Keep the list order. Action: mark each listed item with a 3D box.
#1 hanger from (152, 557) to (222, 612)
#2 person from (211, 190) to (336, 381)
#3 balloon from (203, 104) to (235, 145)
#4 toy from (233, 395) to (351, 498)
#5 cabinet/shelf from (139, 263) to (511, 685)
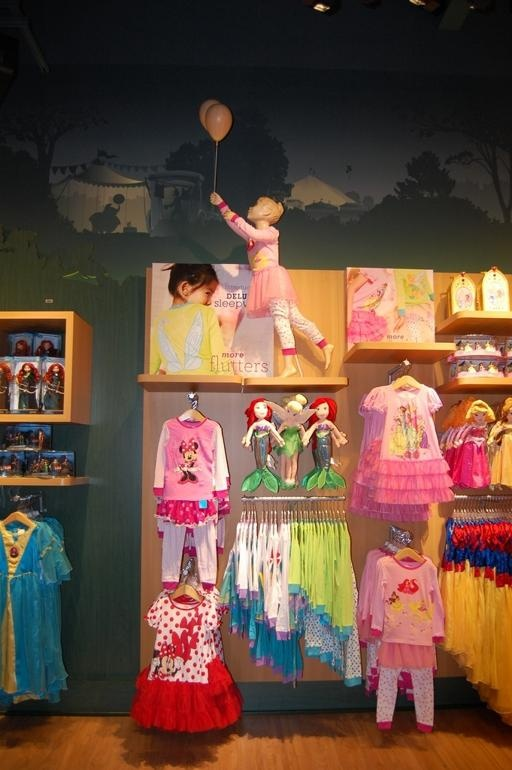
[{"bbox_3d":[-0.343,1.006,3.062,0.330,0.235,0.221,0,3,-4],"label":"hanger"},{"bbox_3d":[0.086,-0.518,3.212,0.624,0.938,0.381,0,3,7],"label":"person"},{"bbox_3d":[-0.184,-1.432,3.428,0.181,0.236,0.179,1,7,15],"label":"balloon"},{"bbox_3d":[0.185,0.303,3.118,0.516,0.500,0.268,0,3,-2],"label":"toy"},{"bbox_3d":[0.335,0.523,3.114,2.043,2.195,0.624,0,-8,-2],"label":"cabinet/shelf"}]
